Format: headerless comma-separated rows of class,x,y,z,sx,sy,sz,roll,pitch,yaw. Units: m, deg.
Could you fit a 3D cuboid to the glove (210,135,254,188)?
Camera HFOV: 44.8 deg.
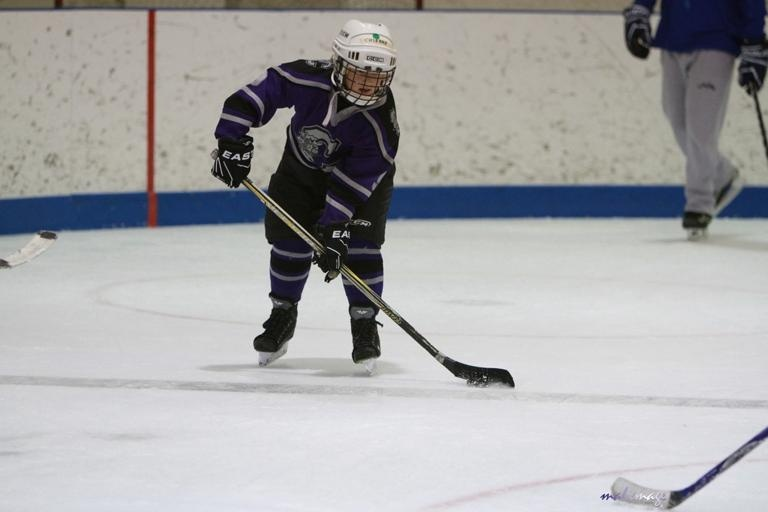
glove,-0.543,-0.345,3.374,0.141,0.182,0.114,-3,14,-11

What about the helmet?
helmet,-0.075,-0.722,3.401,0.248,0.280,0.309,3,26,-18

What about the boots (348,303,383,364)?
boots,-0.066,0.293,3.393,0.097,0.154,0.229,-5,-16,2

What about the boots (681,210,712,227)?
boots,1.993,-0.240,5.904,0.144,0.073,0.107,0,1,-41

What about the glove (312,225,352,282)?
glove,-0.169,-0.016,3.394,0.167,0.182,0.081,-24,25,-35

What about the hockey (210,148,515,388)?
hockey,-0.137,0.055,4.251,1.828,0.252,0.252,35,54,8

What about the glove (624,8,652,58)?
glove,1.692,-1.515,6.299,0.139,0.316,0.247,-3,-10,32

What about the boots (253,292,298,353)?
boots,-0.406,0.252,3.603,0.108,0.147,0.349,-46,17,-16
